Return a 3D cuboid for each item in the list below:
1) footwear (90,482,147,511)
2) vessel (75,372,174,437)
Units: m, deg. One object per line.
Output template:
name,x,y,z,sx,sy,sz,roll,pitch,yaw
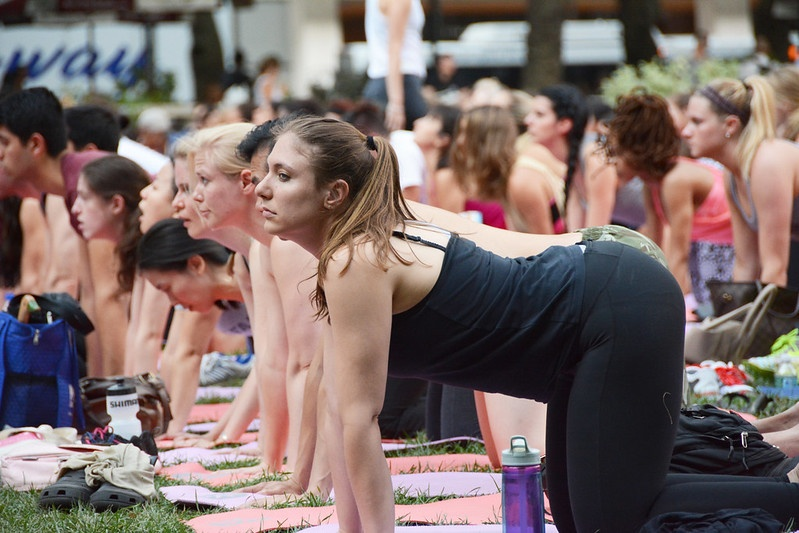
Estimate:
footwear,-1.837,1.511,8.483,0.397,0.169,0.141,-1,36,-4
vessel,-2.077,1.028,9.742,0.643,0.452,0.469,1,2,-4
